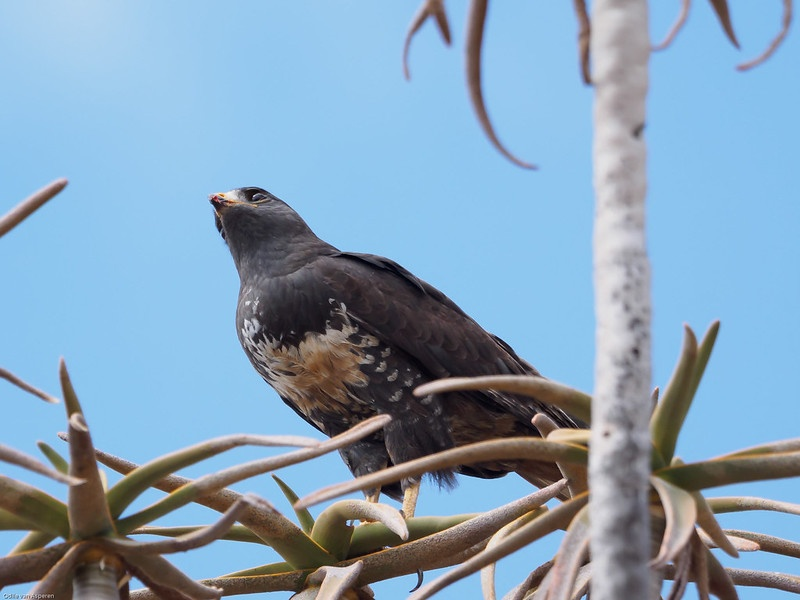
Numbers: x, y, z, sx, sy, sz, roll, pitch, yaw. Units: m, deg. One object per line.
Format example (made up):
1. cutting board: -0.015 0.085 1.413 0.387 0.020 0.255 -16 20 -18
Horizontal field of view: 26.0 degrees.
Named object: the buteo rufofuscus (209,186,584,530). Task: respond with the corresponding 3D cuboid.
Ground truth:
1. buteo rufofuscus: 0.011 0.086 2.256 0.637 0.395 0.221 15 -31 -36
